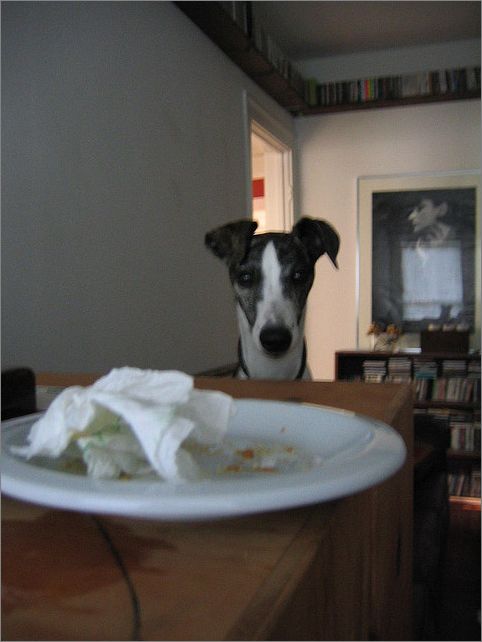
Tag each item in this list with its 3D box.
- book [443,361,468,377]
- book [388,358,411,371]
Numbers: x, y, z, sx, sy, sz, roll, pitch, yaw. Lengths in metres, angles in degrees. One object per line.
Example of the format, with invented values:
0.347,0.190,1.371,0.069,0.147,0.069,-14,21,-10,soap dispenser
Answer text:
1.177,0.258,2.977,0.125,0.094,0.015,2,4,16,book
0.900,0.246,3.052,0.080,0.027,0.083,7,45,27,book
